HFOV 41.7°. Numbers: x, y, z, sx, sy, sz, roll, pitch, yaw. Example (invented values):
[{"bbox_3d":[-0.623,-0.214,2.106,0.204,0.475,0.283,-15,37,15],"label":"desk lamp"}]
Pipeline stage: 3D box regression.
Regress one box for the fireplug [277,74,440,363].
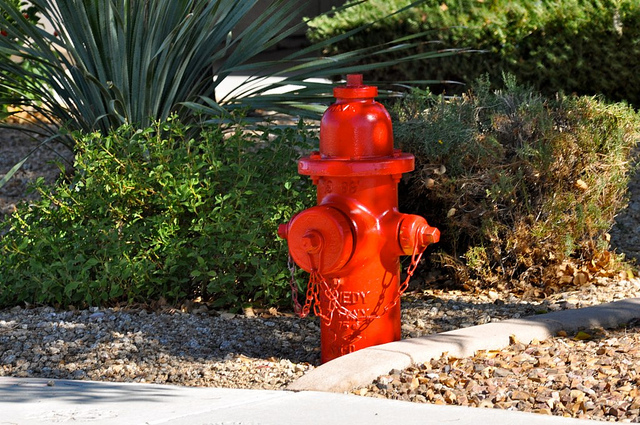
[{"bbox_3d":[0.204,0.053,5.063,0.873,1.724,0.363,-6,13,-11],"label":"fireplug"}]
